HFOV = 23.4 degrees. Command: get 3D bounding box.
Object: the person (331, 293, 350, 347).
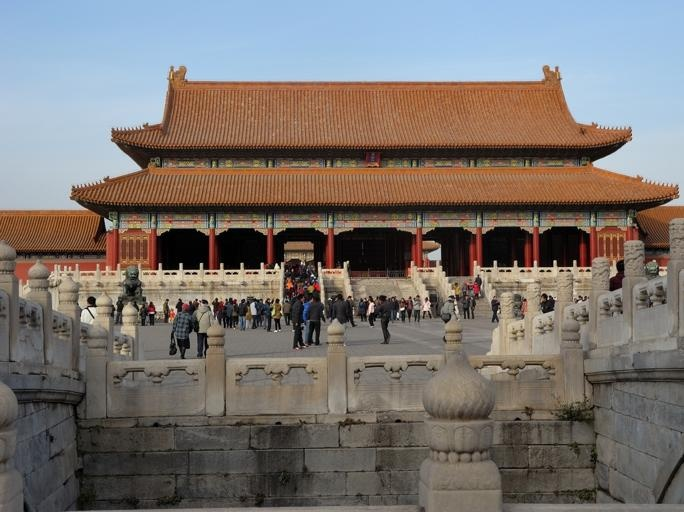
[{"bbox_3d":[-0.024,1.540,44.814,0.406,1.171,0.378,-1,23,6],"label":"person"}]
